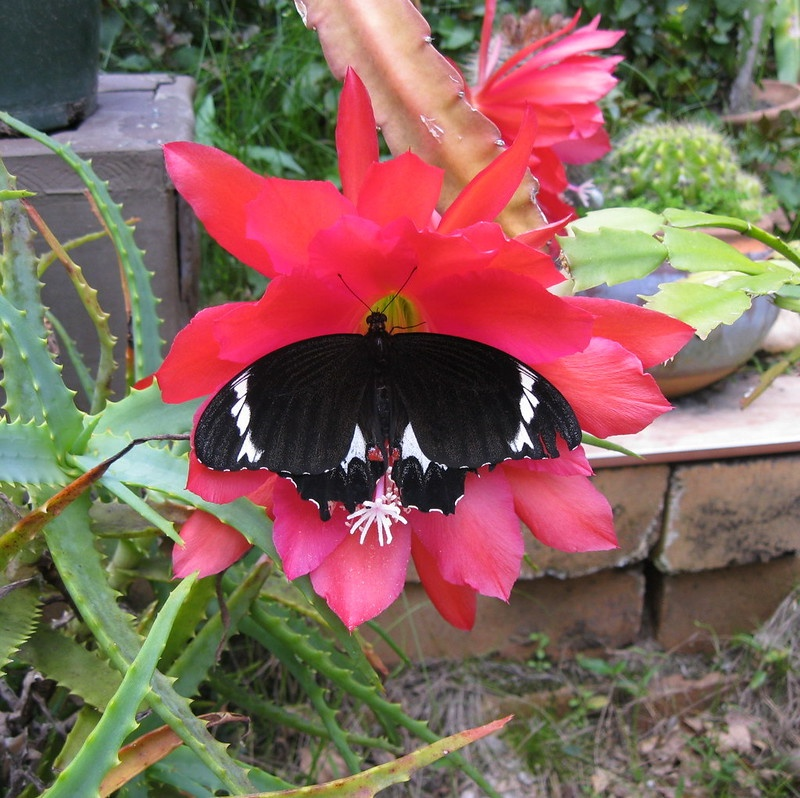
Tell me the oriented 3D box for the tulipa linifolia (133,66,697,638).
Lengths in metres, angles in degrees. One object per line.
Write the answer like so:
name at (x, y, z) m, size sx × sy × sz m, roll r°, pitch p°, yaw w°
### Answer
tulipa linifolia at (0.012, -0.034, 0.644) m, size 0.459 × 0.398 × 0.158 m, roll -4°, pitch 21°, yaw -3°
